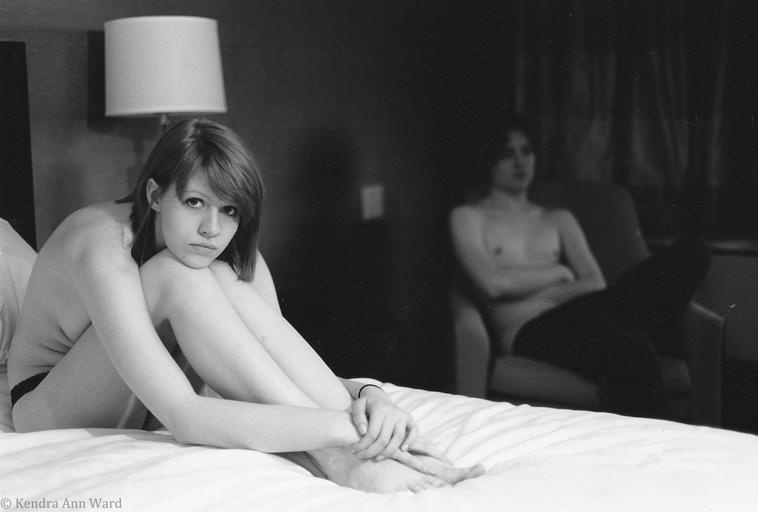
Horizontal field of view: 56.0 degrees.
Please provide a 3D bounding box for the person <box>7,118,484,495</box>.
[{"bbox_3d":[-0.295,0.068,1.942,1.274,0.886,0.618,4,9,15],"label":"person"}]

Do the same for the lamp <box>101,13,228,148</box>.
[{"bbox_3d":[-0.787,-0.628,2.577,0.368,0.410,0.368,-8,11,-35],"label":"lamp"}]
